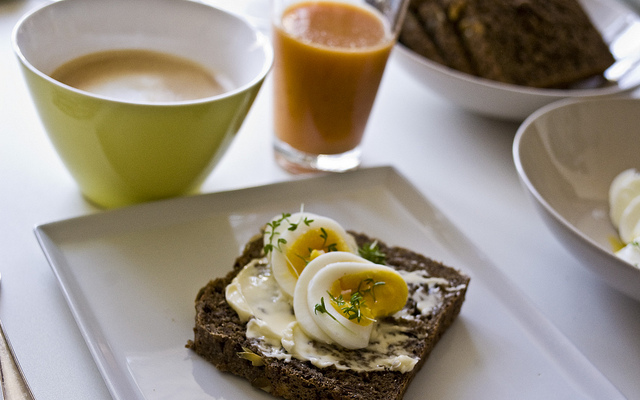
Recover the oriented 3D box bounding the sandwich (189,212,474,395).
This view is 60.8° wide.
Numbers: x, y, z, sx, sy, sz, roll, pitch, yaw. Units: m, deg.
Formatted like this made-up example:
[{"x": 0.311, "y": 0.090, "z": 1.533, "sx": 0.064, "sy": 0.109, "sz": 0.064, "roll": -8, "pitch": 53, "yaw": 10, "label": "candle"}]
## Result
[{"x": 0.011, "y": 0.283, "z": 1.271, "sx": 0.477, "sy": 0.163, "sz": 0.489, "roll": 24, "pitch": 41, "yaw": 12, "label": "sandwich"}]
